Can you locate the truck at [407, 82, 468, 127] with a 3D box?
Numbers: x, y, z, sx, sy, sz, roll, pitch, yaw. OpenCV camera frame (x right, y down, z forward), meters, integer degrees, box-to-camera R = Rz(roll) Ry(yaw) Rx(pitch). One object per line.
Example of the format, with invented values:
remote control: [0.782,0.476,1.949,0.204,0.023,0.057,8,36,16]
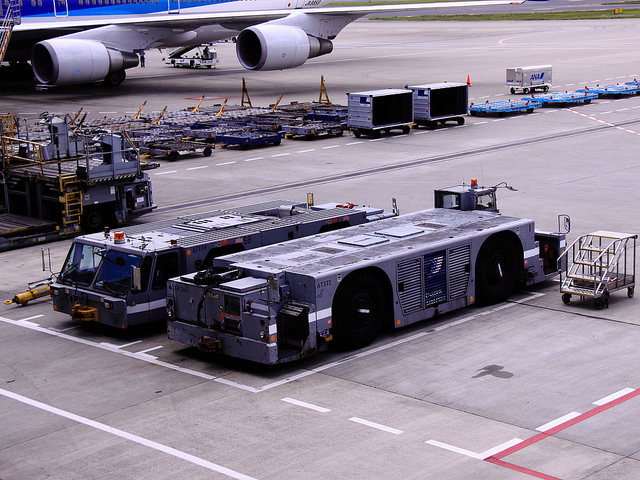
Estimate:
truck: [6.441,-7.284,44.197,3.615,1.825,2.001,-11,16,-38]

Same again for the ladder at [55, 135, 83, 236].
ladder: [-8.173,-1.199,26.930,0.710,2.169,0.644,-10,15,-27]

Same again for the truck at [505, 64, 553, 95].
truck: [13.345,-10.197,52.589,3.074,1.391,1.575,-15,17,-38]
